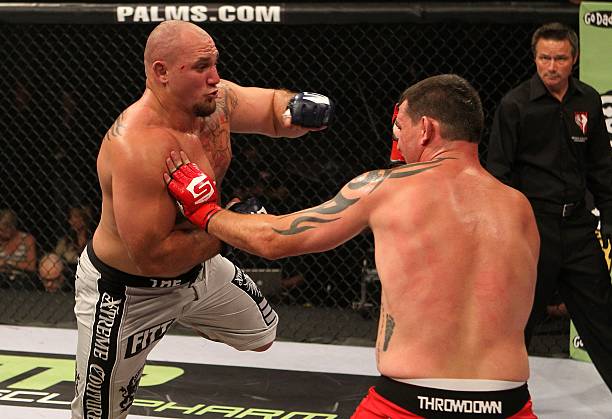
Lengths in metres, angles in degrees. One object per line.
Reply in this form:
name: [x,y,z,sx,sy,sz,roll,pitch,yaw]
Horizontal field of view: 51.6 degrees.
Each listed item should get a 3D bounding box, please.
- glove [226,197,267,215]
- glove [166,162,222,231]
glove: [-0.312,-0.018,3.183,0.150,0.054,0.106,5,9,2]
glove: [-0.536,-0.068,3.002,0.206,0.344,0.104,-38,-2,11]
